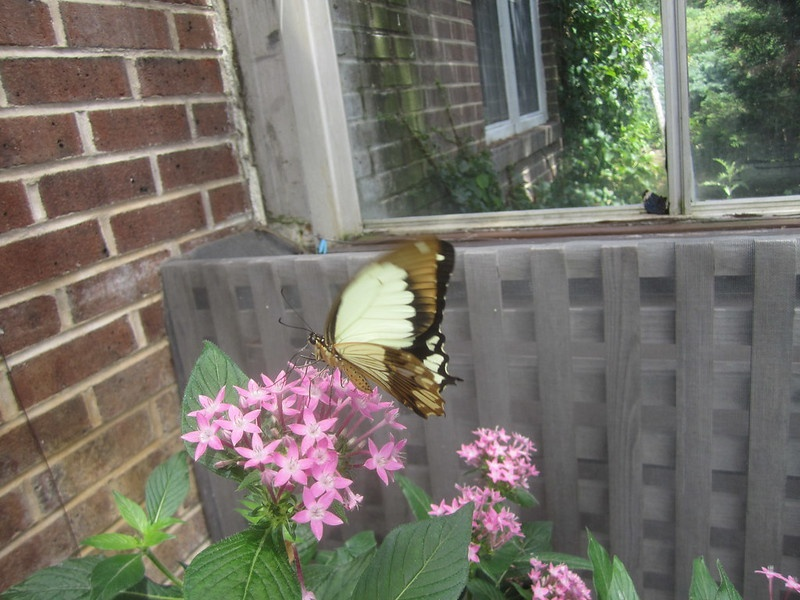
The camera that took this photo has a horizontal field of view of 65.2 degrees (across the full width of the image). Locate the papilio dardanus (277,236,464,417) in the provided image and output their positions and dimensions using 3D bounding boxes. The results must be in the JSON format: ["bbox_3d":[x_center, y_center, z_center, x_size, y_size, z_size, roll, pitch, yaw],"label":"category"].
[{"bbox_3d":[-0.078,0.067,1.555,0.463,0.437,0.425,0,6,-35],"label":"papilio dardanus"}]
